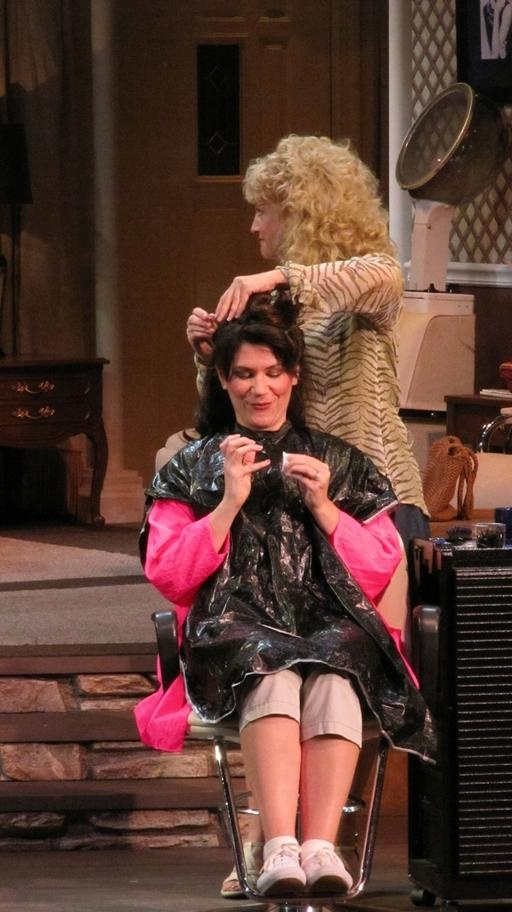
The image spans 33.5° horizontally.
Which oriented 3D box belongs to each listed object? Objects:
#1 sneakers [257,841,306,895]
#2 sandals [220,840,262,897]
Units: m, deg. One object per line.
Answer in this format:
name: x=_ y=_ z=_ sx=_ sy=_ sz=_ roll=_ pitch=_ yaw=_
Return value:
sneakers: x=0.030 y=0.471 z=0.987 sx=0.045 sy=0.056 sz=0.125 roll=-1 pitch=-19 yaw=1
sandals: x=-0.026 y=0.648 z=1.330 sx=0.039 sy=0.066 sz=0.114 roll=-4 pitch=-20 yaw=10
